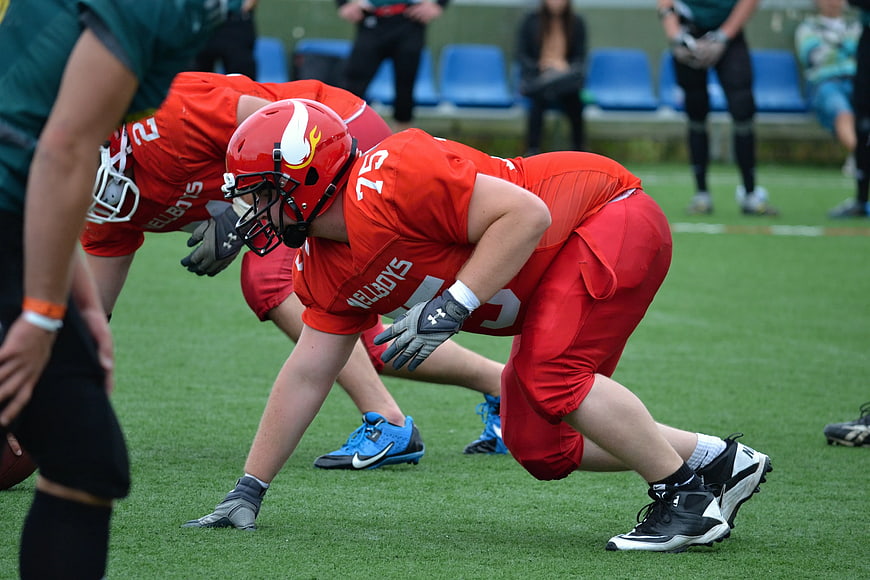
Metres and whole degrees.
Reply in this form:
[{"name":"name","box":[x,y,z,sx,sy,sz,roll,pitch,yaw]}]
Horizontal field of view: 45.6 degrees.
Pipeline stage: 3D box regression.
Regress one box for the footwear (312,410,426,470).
[{"name":"footwear","box":[-0.226,0.609,4.071,0.497,0.270,0.170,-1,-8,-6]}]

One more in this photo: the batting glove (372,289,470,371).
[{"name":"batting glove","box":[-0.030,0.108,3.155,0.300,0.282,0.091,0,18,0]}]

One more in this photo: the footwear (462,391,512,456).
[{"name":"footwear","box":[0.191,0.547,4.178,0.096,0.303,0.297,-15,-10,34]}]

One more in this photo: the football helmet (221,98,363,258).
[{"name":"football helmet","box":[-0.469,-0.388,3.326,0.471,0.448,0.387,-12,15,-12]}]

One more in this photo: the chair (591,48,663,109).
[{"name":"chair","box":[2.067,-2.345,11.555,0.726,0.537,0.721,1,21,-8]}]
